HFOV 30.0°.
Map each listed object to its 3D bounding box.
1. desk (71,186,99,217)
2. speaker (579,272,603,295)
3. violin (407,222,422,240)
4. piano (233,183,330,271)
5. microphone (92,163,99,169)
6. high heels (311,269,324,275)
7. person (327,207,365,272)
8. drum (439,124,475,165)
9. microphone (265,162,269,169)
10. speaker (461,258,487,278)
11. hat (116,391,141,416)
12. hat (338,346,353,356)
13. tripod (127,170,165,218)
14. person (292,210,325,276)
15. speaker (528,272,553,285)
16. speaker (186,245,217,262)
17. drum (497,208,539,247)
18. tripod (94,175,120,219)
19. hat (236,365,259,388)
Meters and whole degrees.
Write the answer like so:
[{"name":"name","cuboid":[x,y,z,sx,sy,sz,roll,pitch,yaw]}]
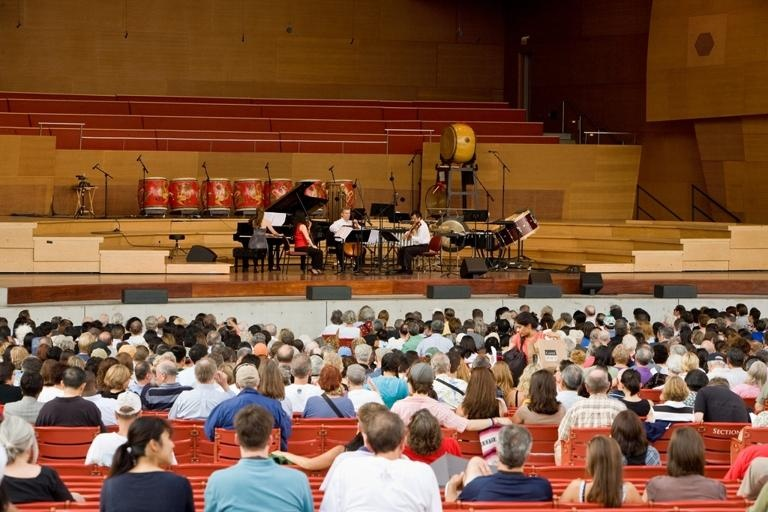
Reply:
[{"name":"desk","cuboid":[-6.770,-1.264,32.516,0.523,0.722,1.663,-1,2,-12]},{"name":"speaker","cuboid":[4.063,0.521,28.194,0.563,0.532,0.389,1,6,-4]},{"name":"violin","cuboid":[0.610,-0.513,29.405,0.106,0.398,0.210,25,-28,32]},{"name":"piano","cuboid":[-2.194,-0.535,29.771,2.054,1.770,1.563,-3,8,-13]},{"name":"microphone","cuboid":[-6.641,-2.073,32.955,0.032,0.168,0.221,41,-19,-17]},{"name":"high heels","cuboid":[-1.354,0.323,29.189,0.105,0.080,0.259,-16,12,-34]},{"name":"person","cuboid":[-0.771,-0.345,29.119,0.691,1.246,0.584,1,11,-11]},{"name":"drum","cuboid":[1.700,-2.529,32.615,0.486,0.872,0.873,-1,7,-22]},{"name":"microphone","cuboid":[-2.776,-2.161,34.210,0.076,0.183,0.110,-1,2,-13]},{"name":"speaker","cuboid":[1.805,0.248,28.607,0.529,0.398,0.358,-1,2,4]},{"name":"hat","cuboid":[-3.599,2.096,20.203,0.326,0.323,0.200,-1,2,-10]},{"name":"hat","cuboid":[-0.622,1.585,23.488,0.133,0.186,0.190,0,-6,12]},{"name":"tripod","cuboid":[-5.364,-1.360,32.109,0.790,0.817,0.771,0,-1,13]},{"name":"person","cuboid":[-1.539,-0.277,29.180,0.635,1.217,0.496,1,12,-18]},{"name":"speaker","cuboid":[3.030,0.444,27.831,0.298,0.188,0.294,0,13,-1]},{"name":"speaker","cuboid":[-3.701,-0.045,28.957,0.562,0.333,0.565,-1,2,-7]},{"name":"drum","cuboid":[2.648,-0.560,29.483,0.686,0.322,0.814,-35,12,-25]},{"name":"tripod","cuboid":[-6.428,-1.391,33.319,0.562,0.895,0.285,-1,2,-13]},{"name":"hat","cuboid":[-2.005,1.779,20.973,0.304,0.346,0.357,1,-3,-11]}]
